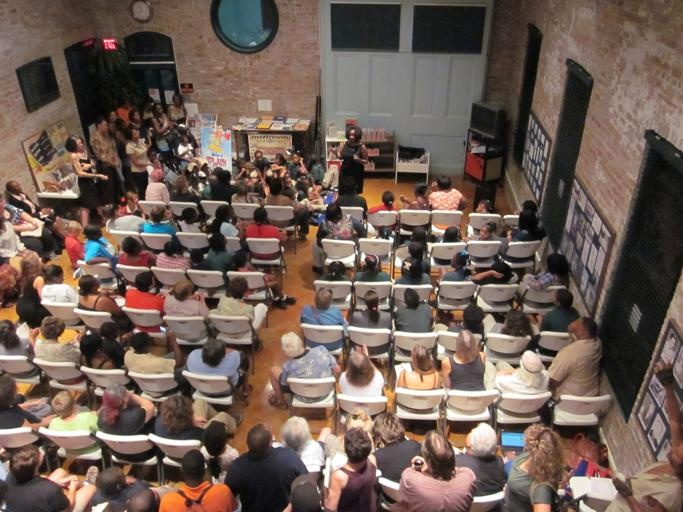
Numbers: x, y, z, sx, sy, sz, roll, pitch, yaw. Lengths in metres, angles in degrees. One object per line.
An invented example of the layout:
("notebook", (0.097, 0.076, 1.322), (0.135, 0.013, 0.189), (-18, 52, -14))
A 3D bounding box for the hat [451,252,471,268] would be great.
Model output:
("hat", (1.632, 0.084, 7.101), (0.217, 0.218, 0.184), (25, 64, 20))

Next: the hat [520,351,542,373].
("hat", (2.060, 1.155, 5.592), (0.176, 0.127, 0.247), (15, 57, 9))

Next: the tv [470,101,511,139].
("tv", (3.095, -2.799, 10.748), (0.358, 0.652, 0.663), (-25, 41, -27))

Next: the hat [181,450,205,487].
("hat", (-1.275, 1.841, 4.521), (0.179, 0.342, 0.190), (-3, 21, -7))

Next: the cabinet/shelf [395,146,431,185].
("cabinet/shelf", (1.346, -2.059, 11.967), (1.155, 0.785, 0.900), (-10, 6, -41))

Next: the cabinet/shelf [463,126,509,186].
("cabinet/shelf", (3.048, -2.154, 10.893), (0.763, 1.170, 0.822), (12, 35, 19))
